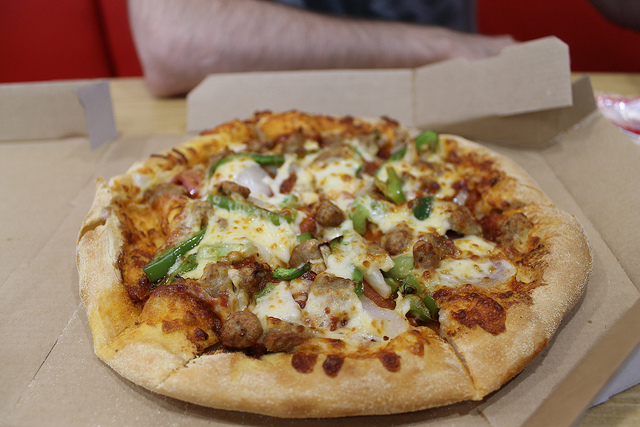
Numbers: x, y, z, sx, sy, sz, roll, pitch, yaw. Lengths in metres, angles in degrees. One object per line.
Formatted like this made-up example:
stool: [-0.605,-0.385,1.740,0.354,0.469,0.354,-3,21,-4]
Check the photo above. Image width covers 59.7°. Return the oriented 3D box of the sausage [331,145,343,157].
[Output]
sausage: [0.098,-0.357,3.146,0.058,0.020,0.060,1,26,8]

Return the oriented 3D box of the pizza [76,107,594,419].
pizza: [0.101,0.195,2.720,1.764,0.216,1.485,5,39,8]

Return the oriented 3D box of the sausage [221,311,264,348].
sausage: [-0.323,0.489,2.437,0.176,0.143,0.197,-8,16,-24]

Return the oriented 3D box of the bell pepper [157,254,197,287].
bell pepper: [-0.667,0.271,2.614,0.043,0.053,0.174,15,50,44]

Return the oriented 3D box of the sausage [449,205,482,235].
sausage: [0.735,0.063,2.844,0.149,0.046,0.154,37,46,-1]

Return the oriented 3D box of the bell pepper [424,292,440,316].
bell pepper: [0.503,0.411,2.532,0.051,0.027,0.097,-25,84,-34]

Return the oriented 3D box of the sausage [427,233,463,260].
sausage: [0.604,0.161,2.701,0.128,0.034,0.130,19,32,-27]

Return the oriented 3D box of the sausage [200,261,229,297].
sausage: [-0.465,0.289,2.519,0.116,0.081,0.147,18,43,23]

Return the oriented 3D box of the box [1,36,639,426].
box: [0.019,0.109,2.769,1.925,1.390,1.955,-4,16,-20]

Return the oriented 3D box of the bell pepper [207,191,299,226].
bell pepper: [-0.348,-0.023,2.846,0.310,0.063,0.204,13,30,-22]

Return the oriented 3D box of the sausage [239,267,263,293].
sausage: [-0.310,0.302,2.528,0.094,0.105,0.037,17,-13,-31]
